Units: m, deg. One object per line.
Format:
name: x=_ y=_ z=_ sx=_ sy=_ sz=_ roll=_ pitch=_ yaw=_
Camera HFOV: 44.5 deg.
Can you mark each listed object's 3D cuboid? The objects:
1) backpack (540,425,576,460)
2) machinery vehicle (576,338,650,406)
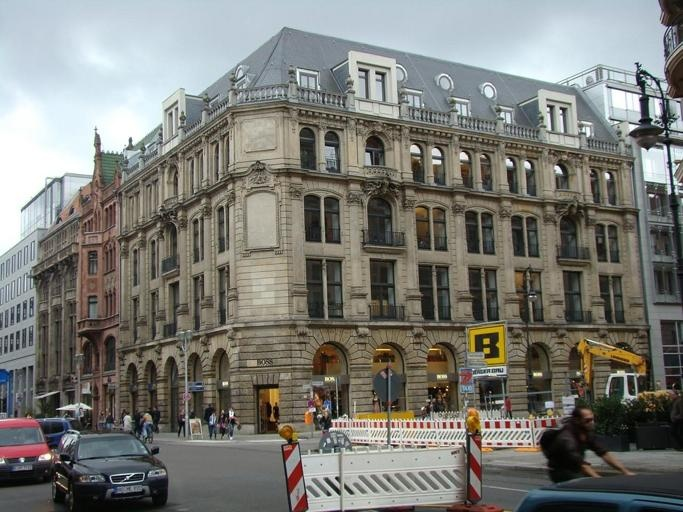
backpack: x=4.081 y=3.666 z=16.284 sx=0.652 sy=0.665 sz=0.451 roll=9 pitch=-5 yaw=-40
machinery vehicle: x=15.718 y=6.606 z=48.317 sx=3.844 sy=3.333 sz=0.535 roll=2 pitch=8 yaw=23
